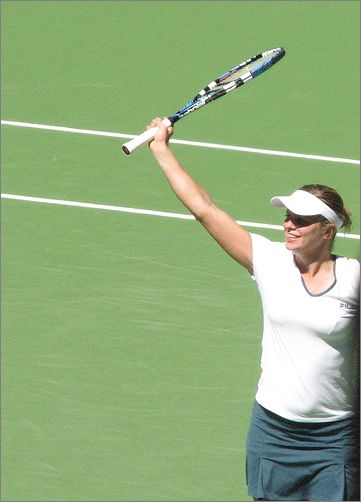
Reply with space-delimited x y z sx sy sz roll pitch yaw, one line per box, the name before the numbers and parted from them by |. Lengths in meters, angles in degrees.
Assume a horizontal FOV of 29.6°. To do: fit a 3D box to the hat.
hat | 0.605 -0.188 3.117 0.286 0.081 0.190 27 -2 -28
